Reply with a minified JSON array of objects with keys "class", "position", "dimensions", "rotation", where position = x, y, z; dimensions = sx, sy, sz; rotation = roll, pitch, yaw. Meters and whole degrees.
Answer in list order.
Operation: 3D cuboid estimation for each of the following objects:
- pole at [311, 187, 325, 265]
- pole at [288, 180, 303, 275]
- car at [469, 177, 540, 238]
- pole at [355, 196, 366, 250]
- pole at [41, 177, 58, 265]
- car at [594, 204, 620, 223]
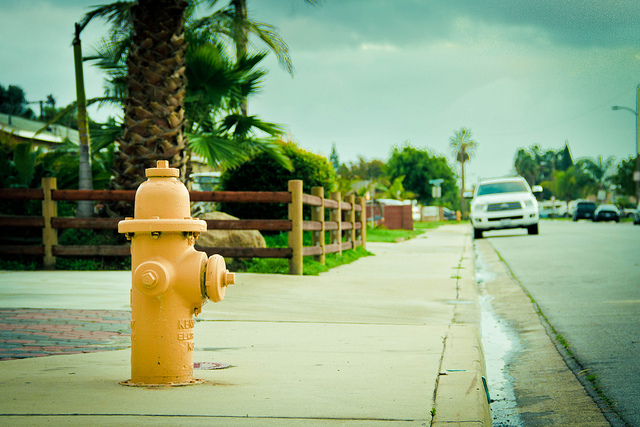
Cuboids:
[{"class":"pole","position":[-0.106,0.133,17.990],"dimensions":[0.282,1.311,0.293],"rotation":[1,0,28]},{"class":"pole","position":[-0.417,0.227,16.520],"dimensions":[0.295,1.820,0.317],"rotation":[-15,-33,24]},{"class":"car","position":[5.598,-0.305,28.499],"dimensions":[1.310,1.285,2.582],"rotation":[-2,-7,6]},{"class":"pole","position":[1.020,0.191,22.691],"dimensions":[0.210,1.133,0.659],"rotation":[-2,-1,1]},{"class":"pole","position":[-4.855,0.124,16.695],"dimensions":[0.245,1.176,0.154],"rotation":[-2,-1,-18]},{"class":"car","position":[15.342,-0.070,49.433],"dimensions":[1.298,0.944,2.015],"rotation":[-3,-2,18]}]
